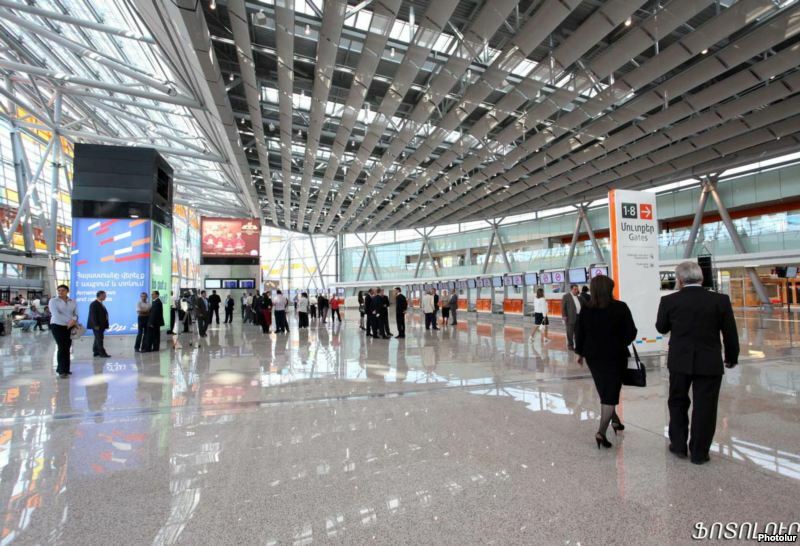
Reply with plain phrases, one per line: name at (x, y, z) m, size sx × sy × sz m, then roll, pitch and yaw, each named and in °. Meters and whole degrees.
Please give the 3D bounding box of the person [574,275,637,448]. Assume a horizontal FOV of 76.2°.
person at (3.016, 1.269, 7.721) m, size 0.694 × 2.446 × 0.739 m, roll -9°, pitch 13°, yaw -38°

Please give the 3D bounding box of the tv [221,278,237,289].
tv at (-10.751, 0.853, 32.371) m, size 0.936 × 0.722 × 0.508 m, roll 2°, pitch -7°, yaw -26°

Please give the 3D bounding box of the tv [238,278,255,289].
tv at (-9.718, 0.663, 32.522) m, size 0.699 × 0.578 × 1.018 m, roll 3°, pitch -1°, yaw -8°

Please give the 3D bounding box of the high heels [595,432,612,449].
high heels at (2.954, 2.477, 7.501) m, size 0.349 × 0.201 × 0.111 m, roll 3°, pitch -6°, yaw -42°

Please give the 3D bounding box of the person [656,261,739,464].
person at (4.181, 1.219, 7.357) m, size 0.881 × 2.709 × 0.964 m, roll -8°, pitch 13°, yaw -35°

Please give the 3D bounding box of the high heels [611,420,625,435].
high heels at (3.364, 2.403, 7.953) m, size 0.088 × 0.289 × 0.110 m, roll -13°, pitch 2°, yaw -10°
